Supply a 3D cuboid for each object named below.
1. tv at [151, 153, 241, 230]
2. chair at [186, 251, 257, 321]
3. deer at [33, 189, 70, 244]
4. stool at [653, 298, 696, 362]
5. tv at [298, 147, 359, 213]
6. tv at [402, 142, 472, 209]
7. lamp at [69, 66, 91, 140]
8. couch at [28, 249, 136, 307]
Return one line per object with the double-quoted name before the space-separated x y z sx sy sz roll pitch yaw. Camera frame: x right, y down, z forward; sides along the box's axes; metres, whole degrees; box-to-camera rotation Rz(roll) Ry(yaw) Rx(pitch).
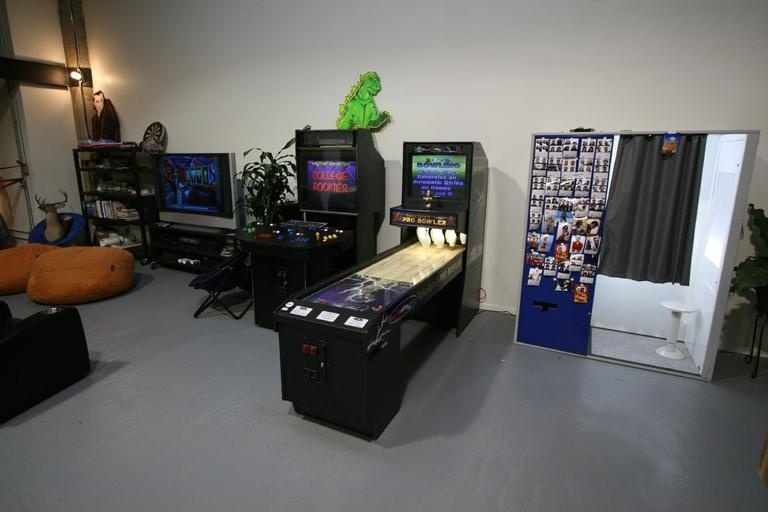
"tv" -2.834 -0.978 7.392 0.154 1.080 1.458 0 5 24
"chair" -2.042 0.370 6.174 0.672 0.745 0.669 -1 2 7
"deer" -4.904 -0.577 7.576 0.390 0.832 0.555 -2 7 2
"stool" 3.104 0.772 5.422 0.303 0.578 0.403 12 18 37
"tv" -0.662 -0.943 6.273 0.769 0.780 0.442 2 16 5
"tv" 0.589 -0.832 5.723 0.760 0.775 0.446 2 -4 3
"lamp" -4.924 -2.464 8.340 0.332 1.160 0.191 -8 17 -31
"couch" -4.058 0.205 6.838 1.172 0.565 1.195 13 13 38
